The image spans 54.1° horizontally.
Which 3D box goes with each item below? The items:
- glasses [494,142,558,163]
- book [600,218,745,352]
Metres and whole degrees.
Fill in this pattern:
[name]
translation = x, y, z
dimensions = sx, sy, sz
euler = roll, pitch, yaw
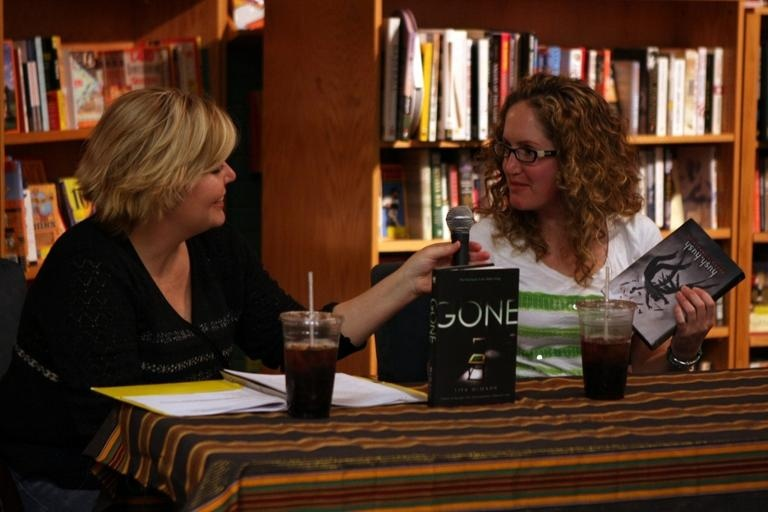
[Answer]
[glasses]
translation = 0.460, -0.343, 2.494
dimensions = 0.121, 0.032, 0.113
euler = 0, 4, -28
[book]
translation = 0.822, 0.071, 2.093
dimensions = 0.302, 0.086, 0.448
euler = -35, 13, 19
